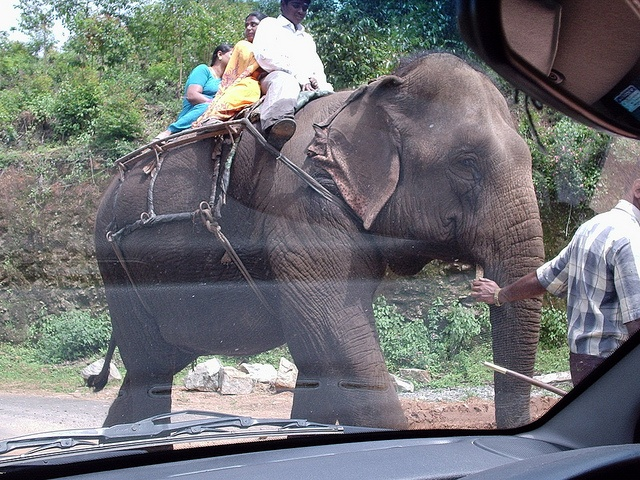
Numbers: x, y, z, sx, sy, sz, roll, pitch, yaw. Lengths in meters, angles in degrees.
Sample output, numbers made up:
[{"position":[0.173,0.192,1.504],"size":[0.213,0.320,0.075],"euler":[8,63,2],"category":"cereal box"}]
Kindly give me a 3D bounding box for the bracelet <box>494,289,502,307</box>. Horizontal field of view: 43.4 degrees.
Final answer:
[{"position":[0.903,0.298,4.050],"size":[0.025,0.064,0.060],"euler":[0,8,13],"category":"bracelet"}]

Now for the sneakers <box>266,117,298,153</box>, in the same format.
[{"position":[-0.218,-0.579,4.393],"size":[0.087,0.218,0.089],"euler":[26,35,-22],"category":"sneakers"}]

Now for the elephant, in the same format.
[{"position":[-0.091,0.280,4.861],"size":[2.915,2.111,1.144],"euler":[-8,-12,23],"category":"elephant"}]
